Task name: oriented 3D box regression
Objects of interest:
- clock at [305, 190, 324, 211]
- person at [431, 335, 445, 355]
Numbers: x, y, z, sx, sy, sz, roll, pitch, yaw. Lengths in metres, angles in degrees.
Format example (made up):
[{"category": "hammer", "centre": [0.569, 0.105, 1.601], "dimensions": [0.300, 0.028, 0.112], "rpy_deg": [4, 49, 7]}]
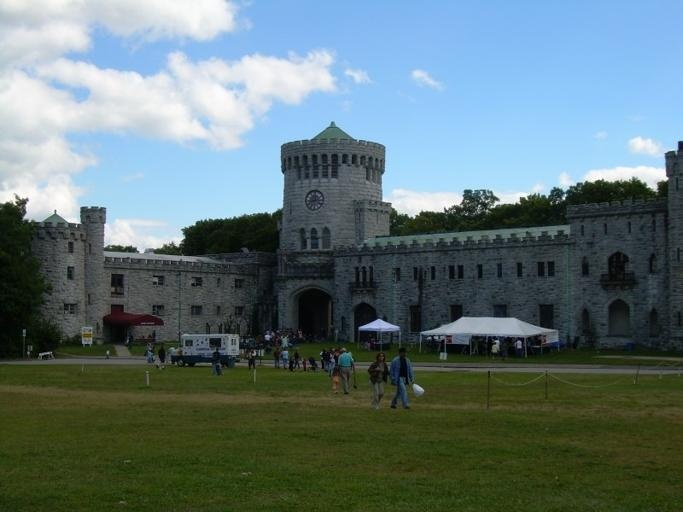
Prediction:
[{"category": "clock", "centre": [-2.588, -5.610, 128.555], "dimensions": [1.972, 1.679, 0.128], "rpy_deg": [-16, 7, 13]}, {"category": "person", "centre": [7.558, 6.861, 104.345], "dimensions": [1.264, 1.342, 1.547], "rpy_deg": [1, -1, 3]}]
